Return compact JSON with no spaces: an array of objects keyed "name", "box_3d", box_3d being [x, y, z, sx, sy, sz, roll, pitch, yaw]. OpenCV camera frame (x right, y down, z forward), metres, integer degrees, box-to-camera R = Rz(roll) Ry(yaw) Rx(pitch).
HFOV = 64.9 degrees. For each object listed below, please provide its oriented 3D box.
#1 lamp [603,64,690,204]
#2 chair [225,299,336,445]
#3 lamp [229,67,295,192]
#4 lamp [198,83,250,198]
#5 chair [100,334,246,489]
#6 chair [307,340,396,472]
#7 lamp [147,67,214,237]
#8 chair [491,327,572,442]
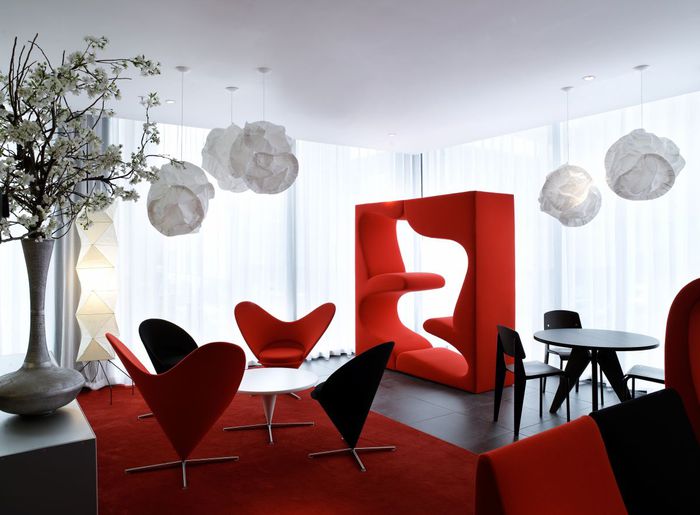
[{"name":"lamp","box_3d":[2.540,-0.831,4.824,0.569,0.631,0.505,3,6,31]},{"name":"chair","box_3d":[-0.745,1.127,5.941,1.159,1.392,1.104,2,-8,-1]},{"name":"lamp","box_3d":[-0.700,-0.827,4.490,0.535,0.573,0.318,-2,6,-13]},{"name":"lamp","box_3d":[-1.033,-1.094,4.821,0.453,0.850,0.445,-4,16,-37]},{"name":"chair","box_3d":[-1.317,1.091,4.259,0.991,1.113,1.125,-1,-5,-22]},{"name":"chair","box_3d":[0.030,1.139,4.503,0.659,0.911,0.657,0,-6,26]},{"name":"lamp","box_3d":[-1.432,-0.984,4.659,0.618,1.491,0.602,-2,-2,21]},{"name":"chair","box_3d":[1.671,1.091,5.065,0.540,0.904,0.517,-4,4,-19]}]
